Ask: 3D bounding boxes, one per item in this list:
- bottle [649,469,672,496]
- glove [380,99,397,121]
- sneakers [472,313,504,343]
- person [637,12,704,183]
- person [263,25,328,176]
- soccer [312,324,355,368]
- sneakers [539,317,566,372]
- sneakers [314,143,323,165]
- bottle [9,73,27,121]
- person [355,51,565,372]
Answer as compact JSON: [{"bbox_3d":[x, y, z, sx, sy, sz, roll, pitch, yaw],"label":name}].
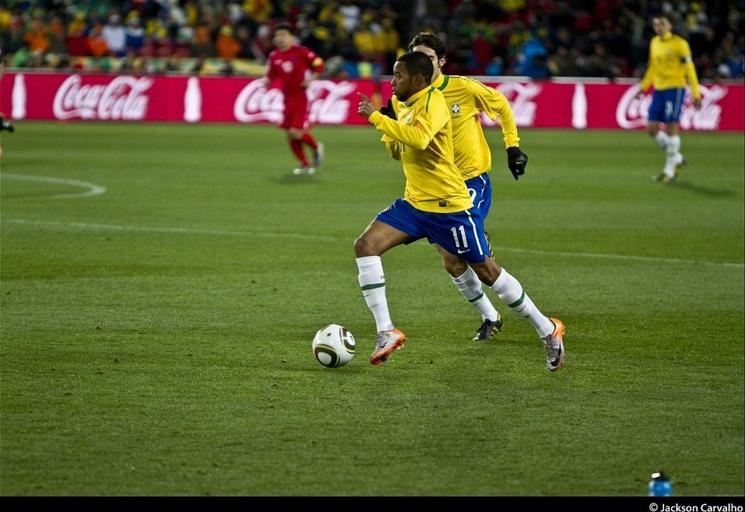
[{"bbox_3d":[1.634,1.275,6.613,0.138,0.146,0.123,-1,13,-11],"label":"bottle"},{"bbox_3d":[0.114,-1.086,8.552,0.080,0.147,0.156,-20,1,0],"label":"glove"},{"bbox_3d":[0.881,0.538,8.980,0.311,0.131,0.114,-34,19,-30],"label":"sneakers"},{"bbox_3d":[3.826,-2.045,15.105,0.863,2.091,0.616,9,15,31],"label":"person"},{"bbox_3d":[-1.085,-2.163,16.398,0.732,2.130,1.235,1,13,1],"label":"person"},{"bbox_3d":[-0.271,0.640,8.364,0.332,0.281,0.299,5,-11,-3],"label":"soccer"},{"bbox_3d":[1.314,0.627,8.361,0.182,0.366,0.143,14,-12,-20],"label":"sneakers"},{"bbox_3d":[-0.788,-1.507,17.201,0.170,0.312,0.112,5,-4,-9],"label":"sneakers"},{"bbox_3d":[-6.444,-2.881,21.222,0.316,0.779,0.230,3,13,-6],"label":"bottle"},{"bbox_3d":[0.559,-0.354,8.425,1.358,2.188,0.763,1,13,-2],"label":"person"}]
